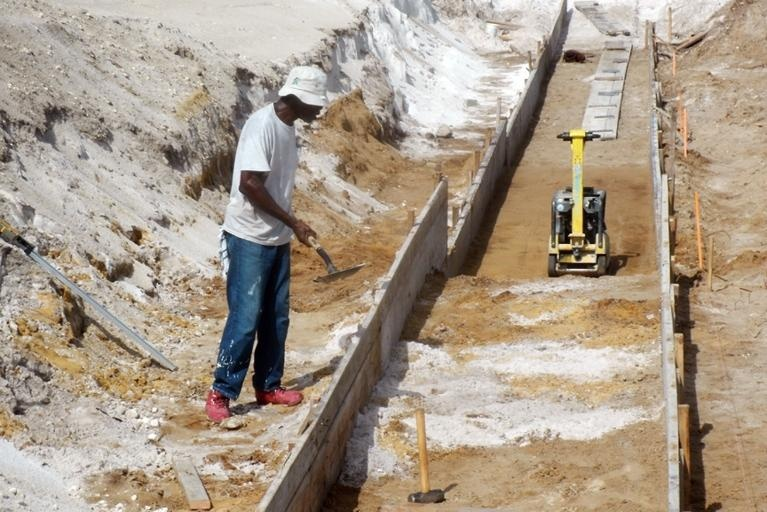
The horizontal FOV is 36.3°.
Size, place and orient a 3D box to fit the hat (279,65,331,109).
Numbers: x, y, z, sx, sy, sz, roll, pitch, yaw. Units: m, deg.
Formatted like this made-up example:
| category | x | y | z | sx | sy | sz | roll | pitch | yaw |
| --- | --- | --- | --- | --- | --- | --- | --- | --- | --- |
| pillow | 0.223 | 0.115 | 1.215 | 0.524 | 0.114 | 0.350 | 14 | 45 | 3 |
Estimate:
| category | x | y | z | sx | sy | sz | roll | pitch | yaw |
| --- | --- | --- | --- | --- | --- | --- | --- | --- | --- |
| hat | -0.905 | -1.872 | 13.087 | 0.527 | 0.467 | 0.402 | -11 | 35 | -5 |
